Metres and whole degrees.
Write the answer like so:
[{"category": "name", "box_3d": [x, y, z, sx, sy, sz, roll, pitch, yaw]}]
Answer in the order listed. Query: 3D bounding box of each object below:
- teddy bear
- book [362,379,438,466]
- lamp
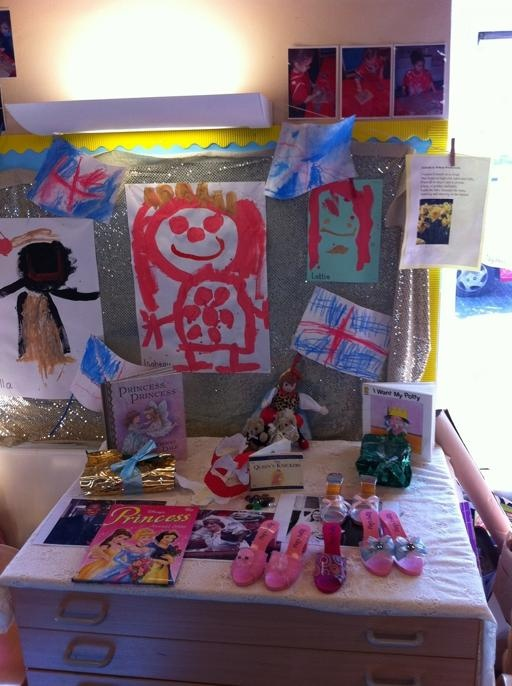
[{"category": "teddy bear", "box_3d": [0.084, 0.194, 1.641, 0.268, 0.280, 0.168, -9, 23, -16]}, {"category": "book", "box_3d": [0.412, 0.218, 1.562, 0.214, 0.190, 0.148, 5, 7, 35]}, {"category": "lamp", "box_3d": [-0.305, -0.580, 1.412, 0.656, 0.073, 0.181, 2, 22, 11]}]
